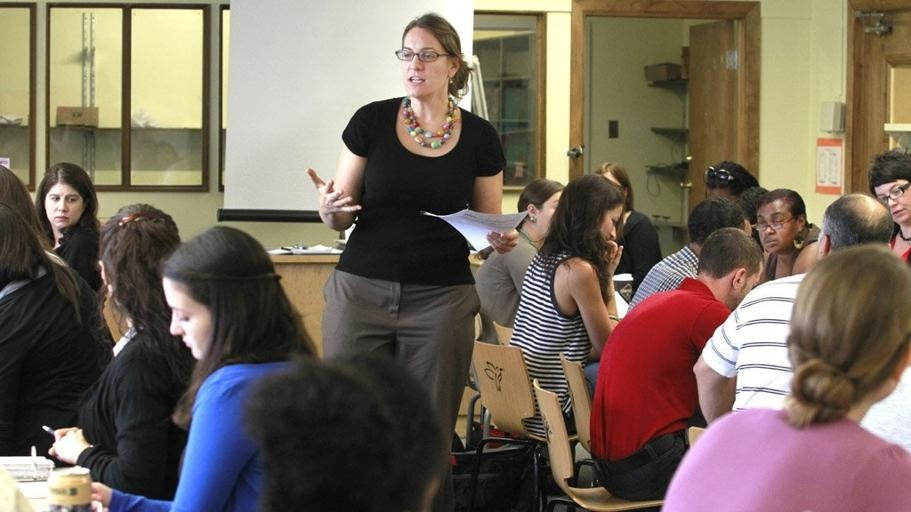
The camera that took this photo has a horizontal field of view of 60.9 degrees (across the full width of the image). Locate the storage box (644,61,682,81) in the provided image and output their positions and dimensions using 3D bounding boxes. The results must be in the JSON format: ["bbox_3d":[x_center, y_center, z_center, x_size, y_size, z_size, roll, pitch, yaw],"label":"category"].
[{"bbox_3d":[2.314,-2.037,8.622,0.417,0.215,0.203,1,2,12],"label":"storage box"}]

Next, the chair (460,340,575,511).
[{"bbox_3d":[0.430,0.868,4.191,0.556,0.795,0.479,-5,6,-36],"label":"chair"}]

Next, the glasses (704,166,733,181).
[{"bbox_3d":[2.107,-0.655,6.100,0.143,0.141,0.050,6,14,39],"label":"glasses"}]

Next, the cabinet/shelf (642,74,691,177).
[{"bbox_3d":[2.353,-1.483,8.687,0.500,1.275,0.297,1,2,9],"label":"cabinet/shelf"}]

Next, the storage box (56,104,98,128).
[{"bbox_3d":[-3.492,-1.270,7.092,0.379,0.183,0.173,2,-4,-8],"label":"storage box"}]

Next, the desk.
[{"bbox_3d":[-0.884,0.317,5.233,0.744,0.989,0.701,0,0,-15],"label":"desk"}]

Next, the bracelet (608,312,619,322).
[{"bbox_3d":[0.878,0.346,4.303,0.051,0.031,0.057,-2,18,-25],"label":"bracelet"}]

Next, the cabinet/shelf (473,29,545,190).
[{"bbox_3d":[0.450,-1.233,6.831,0.613,1.336,0.163,7,19,29],"label":"cabinet/shelf"}]
